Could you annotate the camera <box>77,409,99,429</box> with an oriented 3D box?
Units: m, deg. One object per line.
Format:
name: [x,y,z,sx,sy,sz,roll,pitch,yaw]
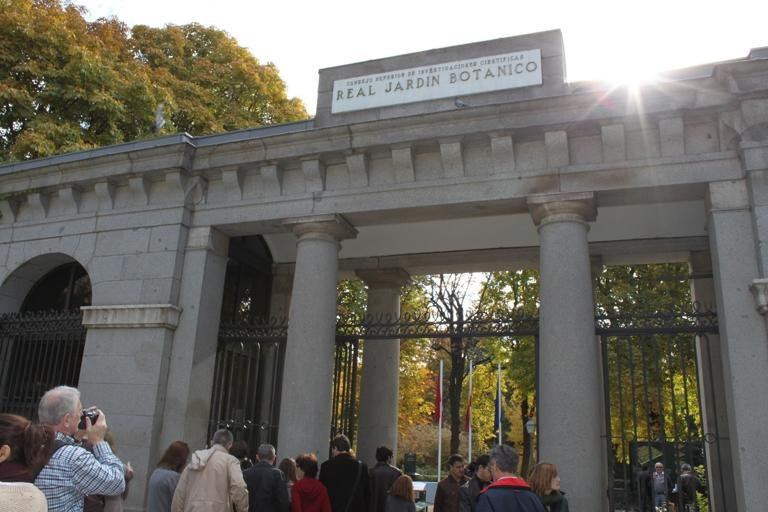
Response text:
camera: [-3.168,1.732,6.460,0.211,0.206,0.201,6,-4,-26]
